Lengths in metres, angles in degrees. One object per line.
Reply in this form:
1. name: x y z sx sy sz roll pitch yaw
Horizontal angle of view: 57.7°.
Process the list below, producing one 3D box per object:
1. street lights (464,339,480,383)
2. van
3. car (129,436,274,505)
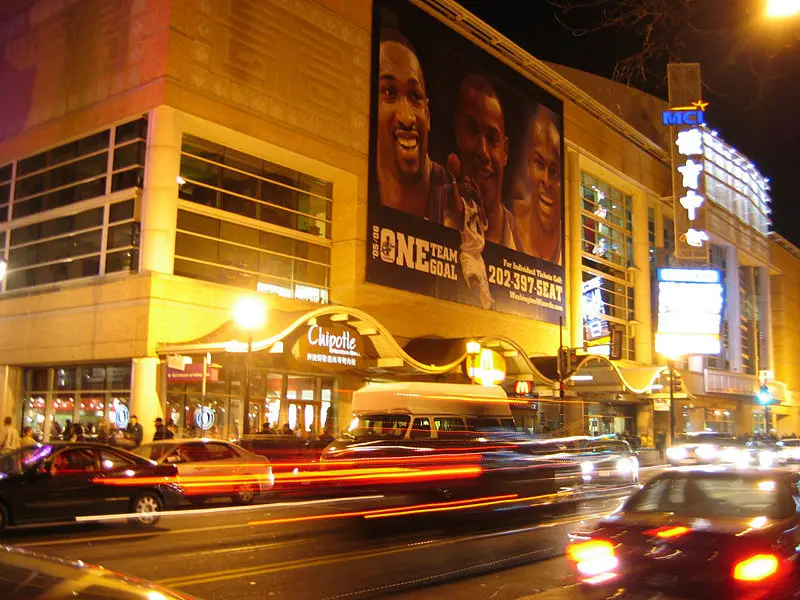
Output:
1. street lights: 3.364 2.785 33.367 0.941 1.924 0.591 -12 0 6
2. van: 0.567 3.048 18.403 4.776 1.970 3.493 -13 0 1
3. car: -5.533 4.411 18.707 4.526 1.529 1.945 10 -16 -41
